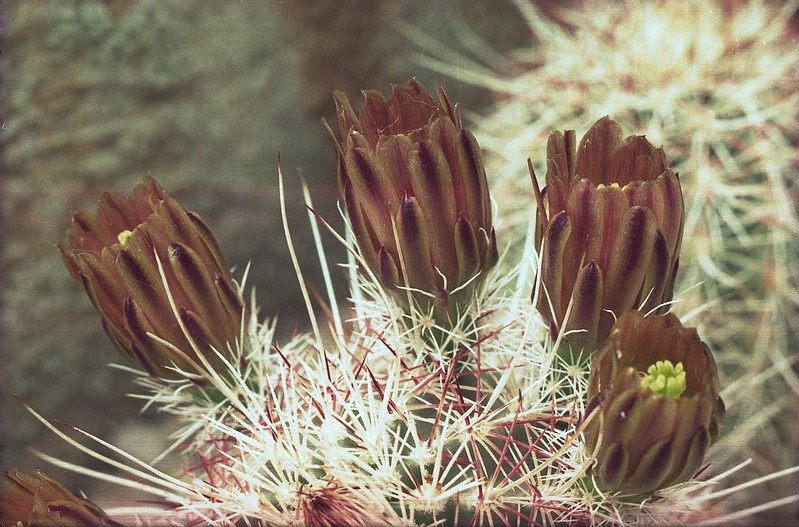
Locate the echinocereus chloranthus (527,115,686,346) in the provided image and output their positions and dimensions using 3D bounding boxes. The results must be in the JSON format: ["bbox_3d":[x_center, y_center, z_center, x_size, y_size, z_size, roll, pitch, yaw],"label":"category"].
[{"bbox_3d":[0.188,-0.024,0.863,0.129,0.233,0.136,17,29,38],"label":"echinocereus chloranthus"}]

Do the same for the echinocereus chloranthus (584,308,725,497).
[{"bbox_3d":[0.216,0.123,0.829,0.111,0.172,0.121,4,46,-2],"label":"echinocereus chloranthus"}]

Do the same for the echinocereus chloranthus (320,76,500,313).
[{"bbox_3d":[-0.004,-0.074,0.906,0.125,0.184,0.197,-26,45,-22],"label":"echinocereus chloranthus"}]
